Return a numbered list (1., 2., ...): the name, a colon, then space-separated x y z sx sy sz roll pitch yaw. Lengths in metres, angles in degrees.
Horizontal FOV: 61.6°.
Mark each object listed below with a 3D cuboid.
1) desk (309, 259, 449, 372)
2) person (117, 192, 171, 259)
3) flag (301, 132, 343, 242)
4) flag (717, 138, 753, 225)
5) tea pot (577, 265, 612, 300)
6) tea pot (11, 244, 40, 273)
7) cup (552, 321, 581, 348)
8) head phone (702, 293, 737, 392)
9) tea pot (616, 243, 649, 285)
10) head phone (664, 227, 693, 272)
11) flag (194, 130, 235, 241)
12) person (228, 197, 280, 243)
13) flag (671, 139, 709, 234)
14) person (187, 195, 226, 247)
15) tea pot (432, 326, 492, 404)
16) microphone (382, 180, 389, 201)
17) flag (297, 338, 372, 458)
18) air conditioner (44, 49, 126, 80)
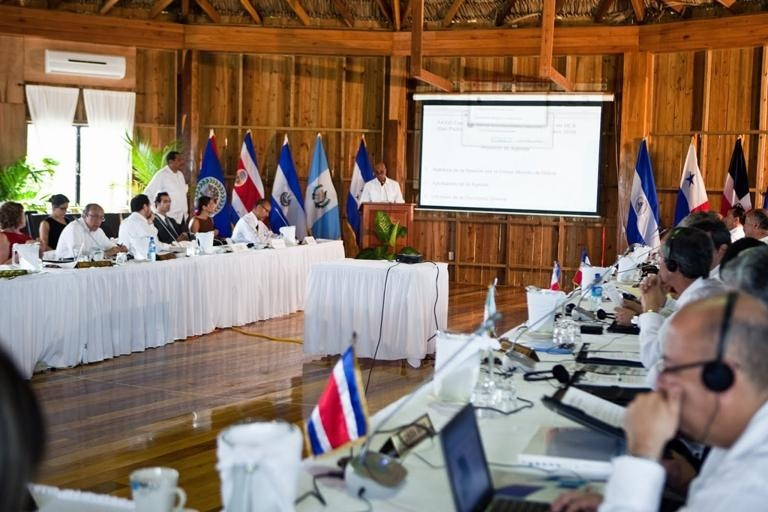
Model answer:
1. desk: -0.005 0.272 5.908 1.105 0.915 0.868 2 3 23
2. person: -2.494 -0.270 6.824 0.430 0.982 0.446 -22 54 -40
3. flag: -0.958 -1.109 10.159 0.541 1.616 0.475 0 6 -8
4. flag: 4.601 -0.985 8.441 0.387 1.225 0.197 8 41 33
5. tea pot: 1.587 0.203 4.865 0.221 0.263 0.210 -1 10 0
6. tea pot: -2.819 0.011 5.140 0.192 0.221 0.270 -3 9 -31
7. cup: 0.981 0.414 3.487 0.117 0.136 0.126 -1 2 0
8. head phone: 0.924 0.243 1.856 0.059 0.240 0.146 13 1 13
9. tea pot: 2.443 0.077 6.320 0.109 0.195 0.306 -23 32 45
10. head phone: 1.497 -0.030 3.289 0.064 0.198 0.145 1 11 10
11. flag: -2.603 -1.100 10.008 0.703 1.915 0.113 1 28 -8
12. person: -1.610 -0.454 8.162 0.463 0.976 0.483 3 1 -1
13. flag: 4.194 -1.052 8.816 0.421 1.420 0.093 -3 -24 35
14. person: -2.089 -0.308 7.829 0.406 0.874 0.369 5 14 19
15. tea pot: 0.337 0.451 2.656 0.254 0.320 0.179 7 11 9
16. microphone: 0.035 -0.947 9.260 0.089 0.277 0.081 1 6 -2
17. flag: -0.151 0.491 2.230 0.230 0.634 0.045 1 37 -7
18. air conditioner: -4.649 -3.020 10.113 1.148 0.346 0.227 -2 8 -23
